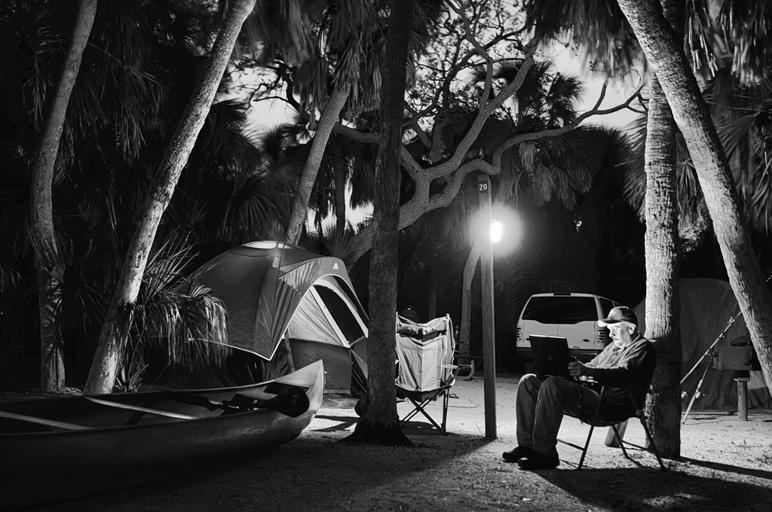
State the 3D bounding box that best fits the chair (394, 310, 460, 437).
[{"bbox_3d":[0.531,1.763,11.215,1.182,1.637,1.273,-1,-4,9],"label":"chair"}]
